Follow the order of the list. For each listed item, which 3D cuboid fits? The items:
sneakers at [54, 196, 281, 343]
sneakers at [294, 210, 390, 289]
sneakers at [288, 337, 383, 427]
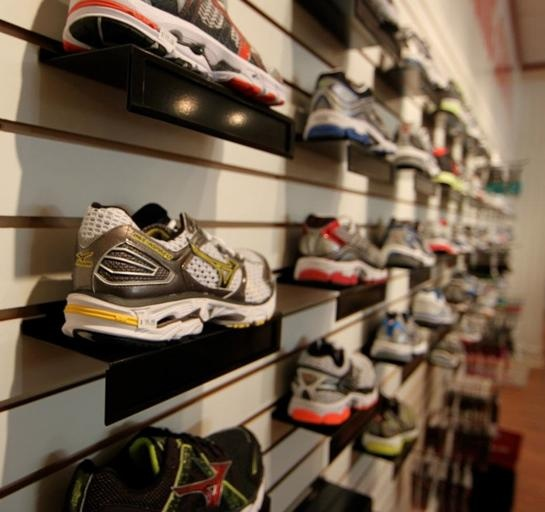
[{"bbox_3d":[-0.132,0.025,0.728,0.115,0.205,0.406,6,5,41],"label":"sneakers"},{"bbox_3d":[0.192,-0.012,1.236,0.134,0.178,0.364,2,-5,41],"label":"sneakers"},{"bbox_3d":[0.183,0.340,1.236,0.145,0.147,0.306,0,2,28],"label":"sneakers"}]
